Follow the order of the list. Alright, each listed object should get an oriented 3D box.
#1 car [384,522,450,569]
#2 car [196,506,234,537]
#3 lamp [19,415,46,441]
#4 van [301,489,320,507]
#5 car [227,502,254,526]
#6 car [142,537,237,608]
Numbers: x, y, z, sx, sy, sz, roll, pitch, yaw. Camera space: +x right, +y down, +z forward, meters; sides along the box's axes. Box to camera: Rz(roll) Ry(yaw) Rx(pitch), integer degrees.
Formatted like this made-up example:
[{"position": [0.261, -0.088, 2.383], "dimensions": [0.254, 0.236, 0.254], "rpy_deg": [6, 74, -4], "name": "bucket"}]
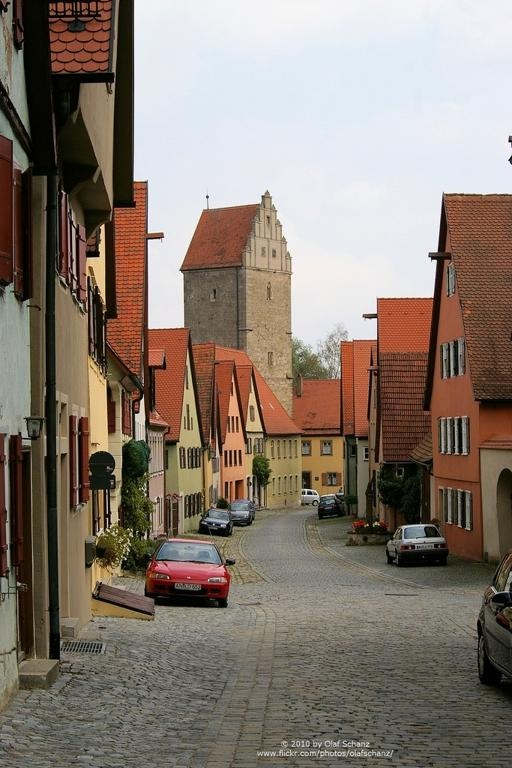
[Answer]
[{"position": [5.245, 5.233, 31.553], "dimensions": [1.638, 1.294, 2.309], "rpy_deg": [-3, -8, 5], "name": "car"}, {"position": [-2.110, 7.419, 51.785], "dimensions": [1.610, 1.437, 1.912], "rpy_deg": [4, -10, -37], "name": "car"}, {"position": [-1.810, 0.359, 7.820], "dimensions": [0.157, 0.240, 0.161], "rpy_deg": [-1, -1, 11], "name": "lamp"}, {"position": [4.964, 10.831, 92.969], "dimensions": [1.258, 1.677, 2.730], "rpy_deg": [0, -8, -3], "name": "van"}, {"position": [-1.015, 8.064, 59.971], "dimensions": [1.096, 1.254, 2.865], "rpy_deg": [-1, -8, 5], "name": "car"}, {"position": [-1.347, 3.753, 19.122], "dimensions": [1.578, 1.269, 1.629], "rpy_deg": [-1, -8, -5], "name": "car"}]
